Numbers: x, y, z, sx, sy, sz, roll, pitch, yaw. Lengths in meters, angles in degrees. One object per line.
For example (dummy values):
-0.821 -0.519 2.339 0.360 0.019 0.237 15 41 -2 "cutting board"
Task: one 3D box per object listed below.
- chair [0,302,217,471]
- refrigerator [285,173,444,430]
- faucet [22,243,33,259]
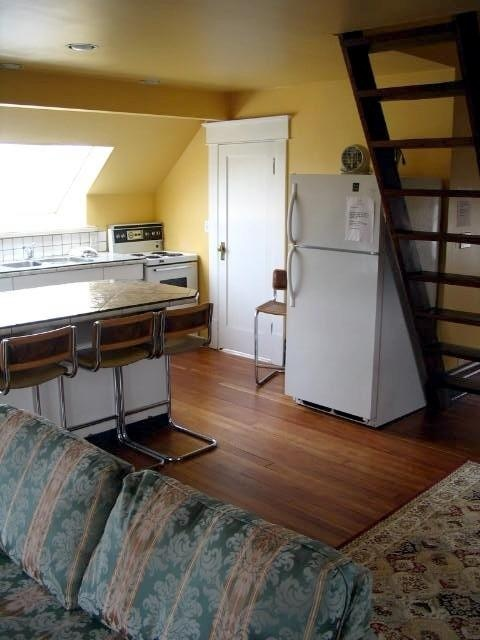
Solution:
-0.788 0.384 2.882 0.343 0.663 0.952 15 20 40 "chair"
0.806 -0.161 3.833 0.985 1.996 0.450 0 9 26 "refrigerator"
-2.294 -0.733 5.215 0.102 0.192 0.104 21 29 36 "faucet"
